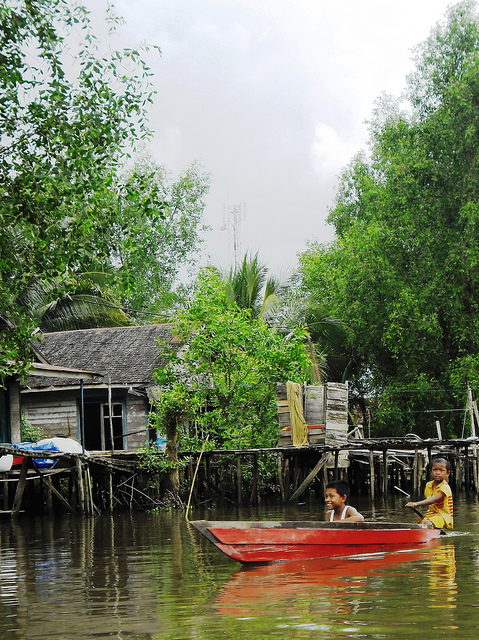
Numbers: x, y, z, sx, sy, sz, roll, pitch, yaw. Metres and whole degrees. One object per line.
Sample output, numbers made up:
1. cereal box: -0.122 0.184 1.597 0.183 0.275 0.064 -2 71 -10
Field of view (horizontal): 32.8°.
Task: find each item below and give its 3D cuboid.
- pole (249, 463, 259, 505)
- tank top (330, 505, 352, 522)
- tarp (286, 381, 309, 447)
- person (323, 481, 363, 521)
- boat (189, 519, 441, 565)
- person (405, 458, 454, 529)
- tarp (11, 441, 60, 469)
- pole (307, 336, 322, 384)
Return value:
1. pole: 0.329 3.792 18.903 0.127 0.880 0.083 19 -17 -25
2. tank top: 1.075 2.069 8.720 0.154 0.204 0.212 3 -3 12
3. tarp: 1.257 2.101 18.480 0.423 1.370 0.519 1 -8 -36
4. person: 1.142 1.971 8.994 0.386 0.413 1.043 -3 -9 6
5. boat: 0.991 2.284 8.352 3.244 0.372 0.707 8 -25 -30
6. person: 2.211 2.010 9.365 0.432 0.839 0.893 -4 -10 11
7. tarp: -4.455 2.895 17.411 1.045 0.337 0.705 4 -1 27
8. pole: 2.165 1.211 23.849 0.159 1.562 0.181 -11 -9 -46
